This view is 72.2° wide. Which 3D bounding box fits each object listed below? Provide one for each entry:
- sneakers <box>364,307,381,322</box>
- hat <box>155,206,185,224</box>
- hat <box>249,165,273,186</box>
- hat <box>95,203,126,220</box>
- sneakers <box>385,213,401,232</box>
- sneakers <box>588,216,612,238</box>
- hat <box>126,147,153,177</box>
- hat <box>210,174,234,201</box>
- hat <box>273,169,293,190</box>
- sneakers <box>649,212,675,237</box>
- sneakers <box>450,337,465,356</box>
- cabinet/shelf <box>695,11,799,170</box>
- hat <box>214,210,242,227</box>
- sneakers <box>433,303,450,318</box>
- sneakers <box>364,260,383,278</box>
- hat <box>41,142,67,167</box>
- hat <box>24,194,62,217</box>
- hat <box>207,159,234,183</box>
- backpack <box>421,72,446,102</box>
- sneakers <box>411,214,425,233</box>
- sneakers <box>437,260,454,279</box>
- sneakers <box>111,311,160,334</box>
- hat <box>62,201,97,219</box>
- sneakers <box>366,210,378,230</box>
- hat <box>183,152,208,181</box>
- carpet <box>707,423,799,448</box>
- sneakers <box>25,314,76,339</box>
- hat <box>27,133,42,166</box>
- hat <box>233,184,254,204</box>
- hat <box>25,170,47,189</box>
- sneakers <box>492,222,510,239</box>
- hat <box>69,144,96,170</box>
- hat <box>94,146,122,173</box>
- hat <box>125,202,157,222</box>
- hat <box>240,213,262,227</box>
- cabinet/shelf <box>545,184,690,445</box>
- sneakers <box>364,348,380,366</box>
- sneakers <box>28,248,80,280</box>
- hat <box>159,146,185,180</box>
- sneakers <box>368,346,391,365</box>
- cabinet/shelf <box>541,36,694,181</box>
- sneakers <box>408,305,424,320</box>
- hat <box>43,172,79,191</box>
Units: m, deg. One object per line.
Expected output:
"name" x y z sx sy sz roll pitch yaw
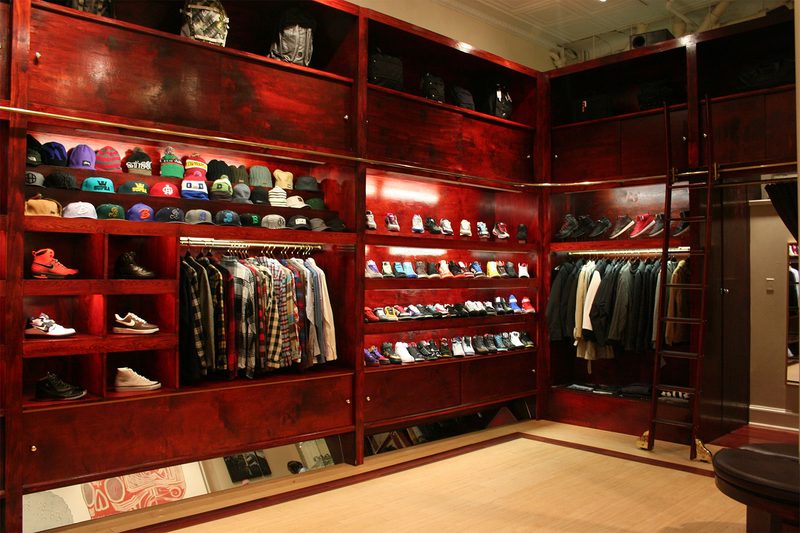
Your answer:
"sneakers" -0.292 0.499 5.803 0.175 0.130 0.292 0 5 -5
"hat" -1.988 -0.448 4.775 0.158 0.085 0.215 2 6 -10
"hat" -1.386 -0.903 5.506 0.220 0.209 0.058 5 -10 -31
"hat" -2.451 -0.465 4.646 0.198 0.076 0.144 8 7 43
"sneakers" -0.091 -0.493 6.157 0.133 0.195 0.209 0 5 -4
"sneakers" 2.503 -0.480 6.850 0.148 0.181 0.443 -20 8 45
"hat" -2.350 -0.943 4.928 0.278 0.209 0.186 23 20 40
"hat" -1.677 -0.749 5.187 0.175 0.197 0.251 2 -3 -23
"hat" -1.204 -0.887 5.617 0.241 0.214 0.130 -4 3 -41
"sneakers" 2.951 -0.466 6.194 0.259 0.261 0.610 2 5 25
"sneakers" 0.677 0.949 6.405 0.143 0.160 0.420 -2 -5 -4
"cabinet/shelf" 3.664 -1.826 5.861 0.905 1.503 0.744 3 6 29
"hat" -1.579 -0.444 5.043 0.148 0.101 0.201 1 -2 -28
"sneakers" 0.479 0.519 6.352 0.123 0.139 0.352 1 -6 -33
"sneakers" -0.275 0.032 5.820 0.188 0.148 0.311 0 5 -3
"hat" -2.882 -0.943 4.661 0.164 0.172 0.220 -8 -10 -8
"hat" -2.834 -0.473 4.367 0.288 0.133 0.188 3 -2 -16
"hat" -1.737 -0.913 5.287 0.211 0.273 0.147 10 -23 -38
"backpack" 0.376 -2.023 6.213 0.259 0.327 0.191 0 5 -6
"sneakers" 0.205 -0.494 6.397 0.233 0.225 0.540 0 2 -1
"sneakers" 0.528 0.045 6.421 0.194 0.237 0.563 -1 -2 -5
"sneakers" -2.247 0.484 4.650 0.458 0.187 0.166 1 -2 1
"hat" -2.630 -0.460 4.497 0.174 0.078 0.239 2 4 -35
"sneakers" -0.321 -0.506 5.950 0.091 0.099 0.269 -34 27 8
"hat" -1.917 -0.941 5.148 0.182 0.154 0.284 -3 8 -22
"carpet" 3.721 1.800 5.817 0.593 0.031 0.676 -3 -2 30
"sneakers" -2.654 0.478 4.299 0.429 0.176 0.150 2 0 0
"hat" -3.000 -0.963 4.511 0.104 0.254 0.195 -3 6 -33
"hat" -1.528 -0.707 5.343 0.149 0.131 0.215 13 18 -40
"hat" -2.977 -0.719 4.496 0.133 0.149 0.160 -3 6 -31
"sneakers" 1.285 -0.453 7.057 0.131 0.126 0.299 -4 3 -14
"hat" -2.677 -0.923 4.627 0.175 0.154 0.244 -2 15 -33
"hat" -2.547 -0.940 4.804 0.170 0.148 0.243 1 11 -16
"hat" -2.235 -0.470 4.746 0.160 0.130 0.242 -2 4 -33
"hat" -1.435 -0.449 5.282 0.167 0.082 0.111 -1 3 0
"cabinet/shelf" 2.539 0.432 6.413 1.562 2.728 1.074 5 7 44
"sneakers" -0.290 0.944 5.717 0.161 0.138 0.229 0 5 -3
"sneakers" -2.769 -0.020 4.413 0.307 0.240 0.226 -3 6 -33
"hat" -2.092 -0.936 5.056 0.201 0.296 0.118 -6 -8 -35
"sneakers" -0.240 0.945 5.767 0.110 0.116 0.298 -3 1 -37
"cabinet/shelf" 2.624 -1.817 6.547 2.151 1.716 0.715 -4 -7 42
"sneakers" 0.178 0.524 6.154 0.120 0.146 0.353 -1 4 6
"hat" -2.835 -0.725 4.594 0.238 0.159 0.120 -3 6 -31
